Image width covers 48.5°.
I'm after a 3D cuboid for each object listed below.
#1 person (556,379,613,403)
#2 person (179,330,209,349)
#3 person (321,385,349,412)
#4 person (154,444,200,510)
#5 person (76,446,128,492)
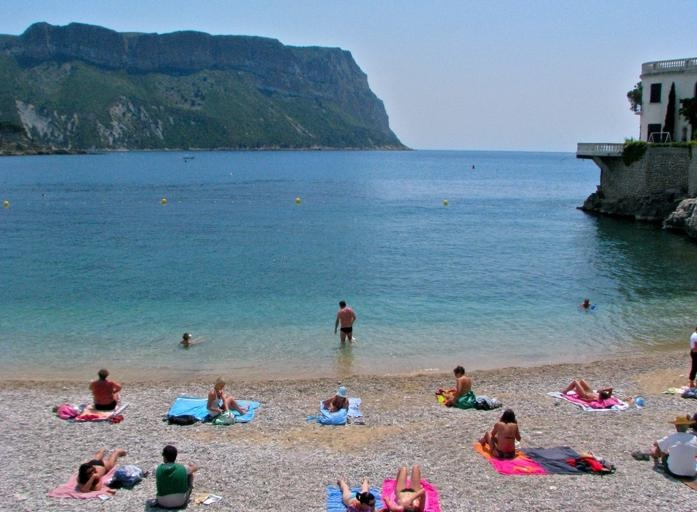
[{"bbox_3d":[10.954,6.308,35.637,1.639,0.564,1.115,5,0,42],"label":"person"},{"bbox_3d":[-8.669,4.580,43.287,1.572,0.609,2.153,-3,15,-11],"label":"person"},{"bbox_3d":[-0.516,6.490,35.582,1.030,1.263,1.242,6,10,5],"label":"person"},{"bbox_3d":[-6.697,8.534,29.657,1.480,2.277,0.996,-4,16,-15],"label":"person"},{"bbox_3d":[-10.037,8.410,31.143,1.032,1.060,2.733,-11,16,7],"label":"person"}]
